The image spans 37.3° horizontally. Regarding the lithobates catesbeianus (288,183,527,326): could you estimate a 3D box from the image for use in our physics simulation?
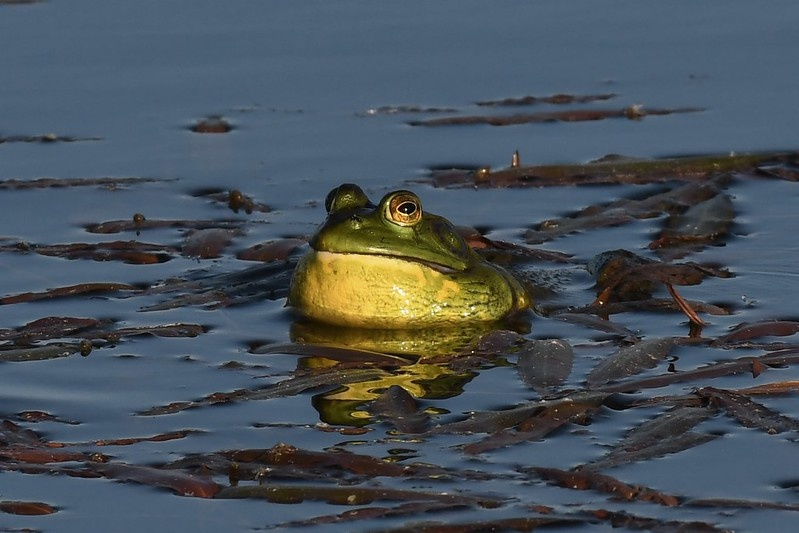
[{"bbox_3d":[0.124,-0.065,9.660,1.612,1.151,0.476,0,15,-20],"label":"lithobates catesbeianus"}]
